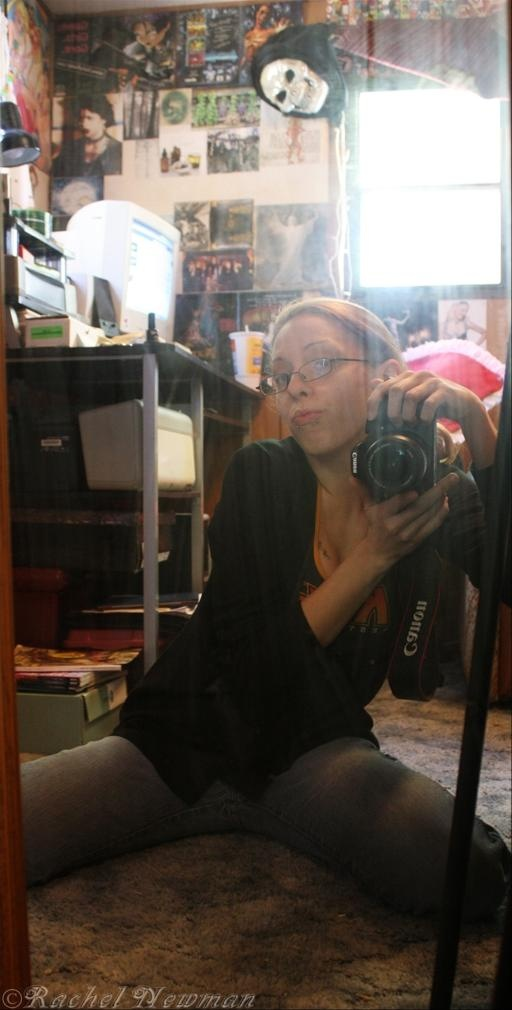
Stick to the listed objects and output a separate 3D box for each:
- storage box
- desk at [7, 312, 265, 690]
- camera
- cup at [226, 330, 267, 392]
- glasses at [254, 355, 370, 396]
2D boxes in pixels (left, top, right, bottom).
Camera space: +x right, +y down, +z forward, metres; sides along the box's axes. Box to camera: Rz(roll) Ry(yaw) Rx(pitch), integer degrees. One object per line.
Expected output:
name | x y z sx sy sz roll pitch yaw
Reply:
storage box | -0.300 0.338 1.242 0.146 0.111 0.162 -3 -1 14
desk | -0.210 -0.030 1.307 0.486 0.573 0.455 3 11 17
camera | 0.152 -0.052 0.852 0.090 0.110 0.073 5 -5 6
cup | -0.011 -0.178 0.937 0.049 0.079 0.054 -1 1 -2
glasses | 0.064 -0.149 0.887 0.130 0.048 0.012 6 12 20
